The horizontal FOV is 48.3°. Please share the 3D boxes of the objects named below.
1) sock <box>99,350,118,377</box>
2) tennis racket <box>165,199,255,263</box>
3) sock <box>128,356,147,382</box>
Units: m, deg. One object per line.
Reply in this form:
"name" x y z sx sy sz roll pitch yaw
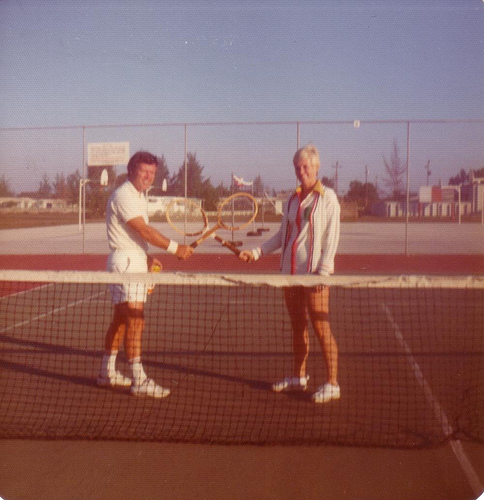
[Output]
"sock" -1.011 0.856 4.096 0.118 0.220 0.126 -2 4 -21
"tennis racket" -0.604 -0.389 10.285 1.725 0.115 0.557 30 38 22
"sock" -0.770 0.869 3.974 0.124 0.173 0.134 -3 5 -28
